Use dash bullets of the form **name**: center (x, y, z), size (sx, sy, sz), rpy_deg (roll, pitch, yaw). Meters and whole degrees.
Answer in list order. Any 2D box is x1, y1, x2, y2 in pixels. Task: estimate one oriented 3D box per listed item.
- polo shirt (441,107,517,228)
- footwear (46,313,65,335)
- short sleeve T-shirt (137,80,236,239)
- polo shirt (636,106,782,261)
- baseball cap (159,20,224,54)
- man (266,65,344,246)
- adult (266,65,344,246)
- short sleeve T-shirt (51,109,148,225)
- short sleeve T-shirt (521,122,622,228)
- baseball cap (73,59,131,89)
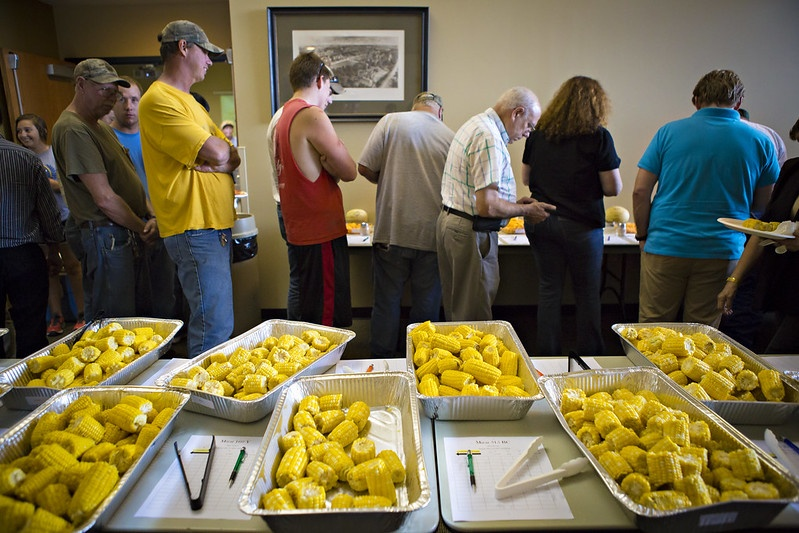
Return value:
- **polo shirt**: center (0.432, -0.653, 3.418), size (0.498, 0.778, 0.900), rpy_deg (-1, 22, -6)
- **footwear**: center (-2.972, 0.503, 4.595), size (0.109, 0.126, 0.277), rpy_deg (0, 2, -24)
- **short sleeve T-shirt**: center (-1.181, -0.592, 3.012), size (0.478, 0.851, 0.297), rpy_deg (-6, 17, -27)
- **polo shirt**: center (1.877, -0.518, 3.324), size (0.731, 0.866, 0.453), rpy_deg (9, 8, 25)
- **baseball cap**: center (-1.151, -1.251, 2.960), size (0.303, 0.126, 0.194), rpy_deg (2, 20, -37)
- **man**: center (-0.547, -0.483, 3.401), size (0.376, 1.637, 0.453), rpy_deg (-12, 21, -41)
- **adult**: center (-0.552, -0.483, 3.401), size (0.461, 1.637, 0.356), rpy_deg (16, 21, 41)
- **short sleeve T-shirt**: center (-1.919, -0.632, 3.457), size (0.396, 0.732, 0.688), rpy_deg (-4, 14, -2)
- **short sleeve T-shirt**: center (1.108, -0.623, 3.609), size (0.627, 0.639, 0.373), rpy_deg (11, 17, 36)
- **baseball cap**: center (-1.774, -1.144, 3.197), size (0.267, 0.134, 0.177), rpy_deg (-4, 16, -20)
